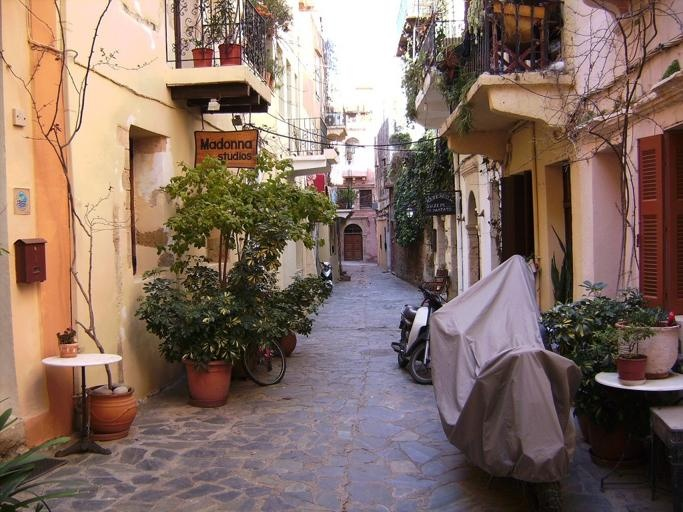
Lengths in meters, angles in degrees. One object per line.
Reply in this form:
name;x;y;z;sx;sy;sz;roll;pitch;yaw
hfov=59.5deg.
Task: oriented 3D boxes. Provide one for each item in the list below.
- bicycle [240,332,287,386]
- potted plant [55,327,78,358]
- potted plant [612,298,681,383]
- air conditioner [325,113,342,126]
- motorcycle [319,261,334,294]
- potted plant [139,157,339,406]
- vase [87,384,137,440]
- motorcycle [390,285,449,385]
bicycle;-1.210;1.640;9.431;0.284;0.759;0.726;-3;-2;21
potted plant;-2.932;0.927;6.398;0.196;0.270;0.240;-4;6;-37
potted plant;2.803;0.735;5.409;0.586;0.880;0.602;1;-4;-39
air conditioner;-0.344;-6.455;28.533;0.858;0.596;0.696;3;-9;4
motorcycle;-0.500;0.591;23.087;0.498;0.688;1.131;2;-15;1
potted plant;-1.555;0.184;8.659;2.230;3.497;2.862;1;5;20
vase;-2.625;1.795;6.854;0.497;0.520;0.537;0;-2;-17
motorcycle;1.189;1.204;9.303;0.682;1.396;1.662;0;5;3
